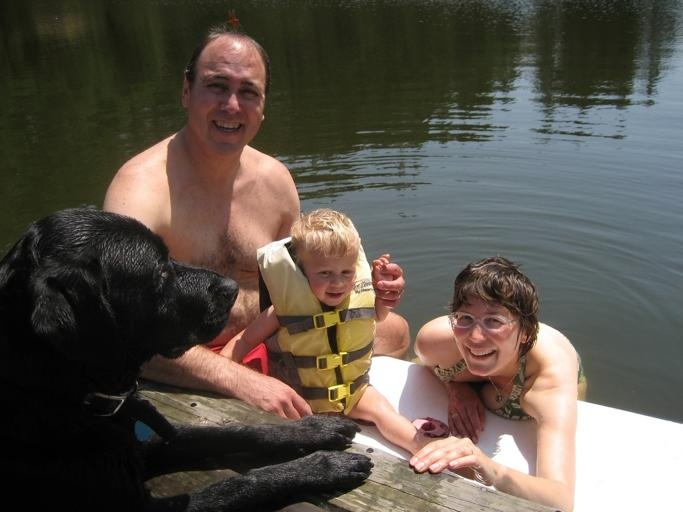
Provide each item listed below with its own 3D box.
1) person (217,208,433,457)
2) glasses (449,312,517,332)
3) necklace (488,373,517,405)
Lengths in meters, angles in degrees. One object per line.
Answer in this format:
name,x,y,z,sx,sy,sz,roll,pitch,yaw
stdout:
person,-0.008,0.468,4.499,1.534,1.470,0.894,16,25,36
glasses,0.857,0.407,3.993,0.343,0.108,0.093,4,24,20
necklace,1.057,0.878,4.348,0.146,0.181,0.079,-2,2,-22
